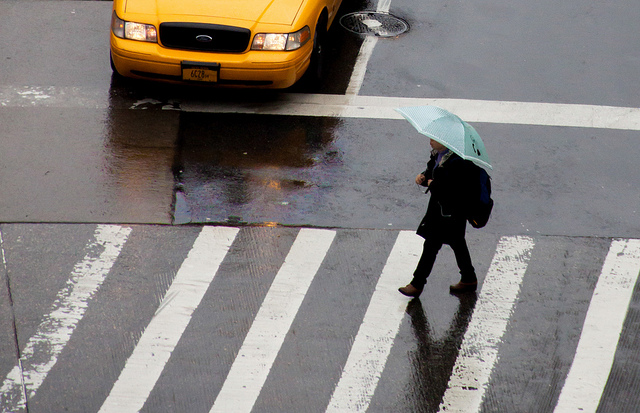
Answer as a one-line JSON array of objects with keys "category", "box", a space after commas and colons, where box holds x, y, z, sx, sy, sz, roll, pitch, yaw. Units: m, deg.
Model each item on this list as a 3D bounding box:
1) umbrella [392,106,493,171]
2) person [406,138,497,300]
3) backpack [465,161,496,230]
[{"category": "umbrella", "box": [1.707, -0.939, 16.823, 1.380, 0.459, 0.567, 28, 43, 14]}, {"category": "person", "box": [1.829, 0.279, 17.411, 1.300, 2.164, 0.869, -3, 55, 6]}, {"category": "backpack", "box": [2.150, -0.118, 17.059, 0.508, 0.923, 0.685, -4, 23, -3]}]
